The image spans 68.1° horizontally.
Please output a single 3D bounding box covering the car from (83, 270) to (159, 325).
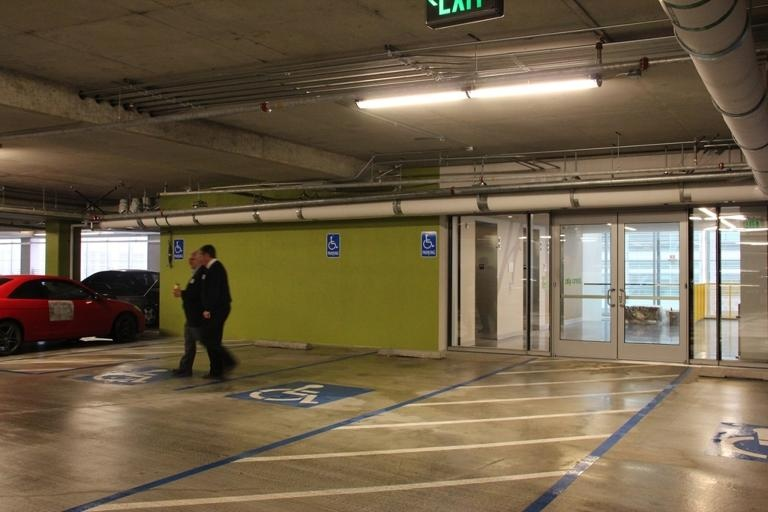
[{"bbox_3d":[-8.238,1.095,17.828,1.779,1.106,2.754,0,-8,4],"label":"car"}]

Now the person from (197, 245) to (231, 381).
[{"bbox_3d":[-3.002,1.031,10.196,0.585,2.438,0.445,-1,2,-25],"label":"person"}]
